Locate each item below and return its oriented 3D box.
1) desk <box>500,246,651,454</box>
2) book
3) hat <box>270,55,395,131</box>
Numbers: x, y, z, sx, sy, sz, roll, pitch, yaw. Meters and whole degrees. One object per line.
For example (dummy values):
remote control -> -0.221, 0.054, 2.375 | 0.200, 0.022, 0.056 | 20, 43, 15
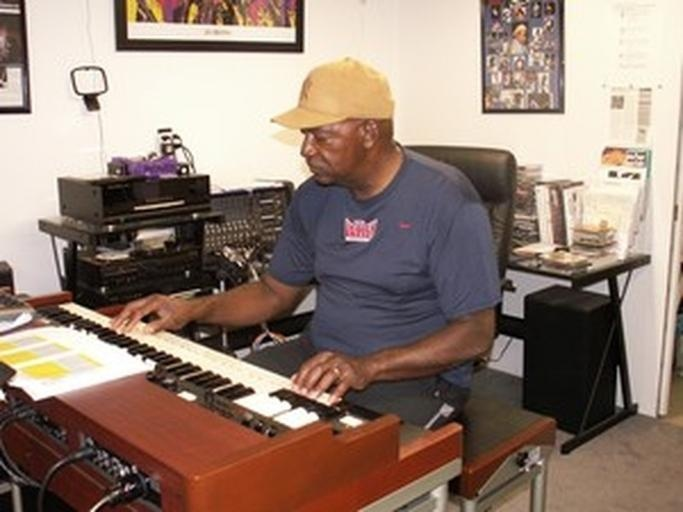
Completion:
desk -> 1.279, 0.467, 3.568 | 0.787, 0.955, 1.043 | -4, 9, -29
book -> 1.202, -0.327, 3.203 | 0.794, 0.745, 0.567 | -8, 14, -34
hat -> -0.023, -0.519, 1.866 | 0.336, 0.179, 0.243 | -4, 15, -21
